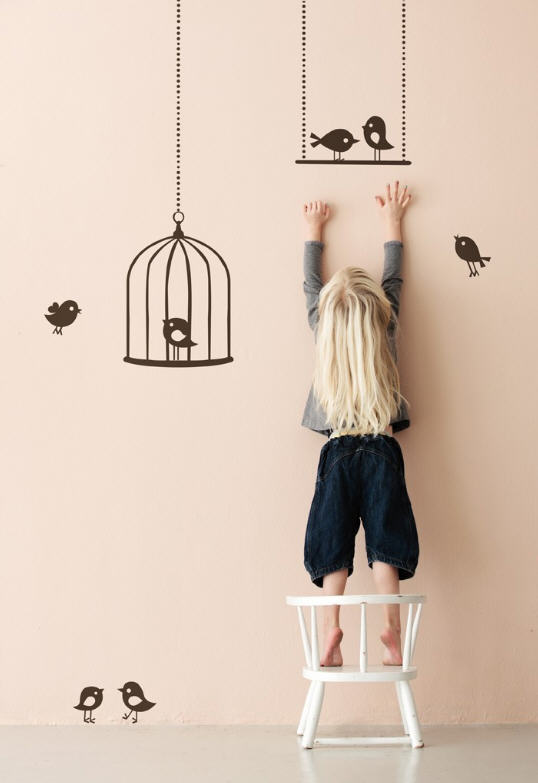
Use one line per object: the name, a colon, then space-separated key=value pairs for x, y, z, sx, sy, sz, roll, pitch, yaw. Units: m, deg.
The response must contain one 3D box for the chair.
chair: x=0.250 y=0.735 z=2.760 sx=0.368 sy=0.382 sz=0.352 roll=-2 pitch=-14 yaw=7
